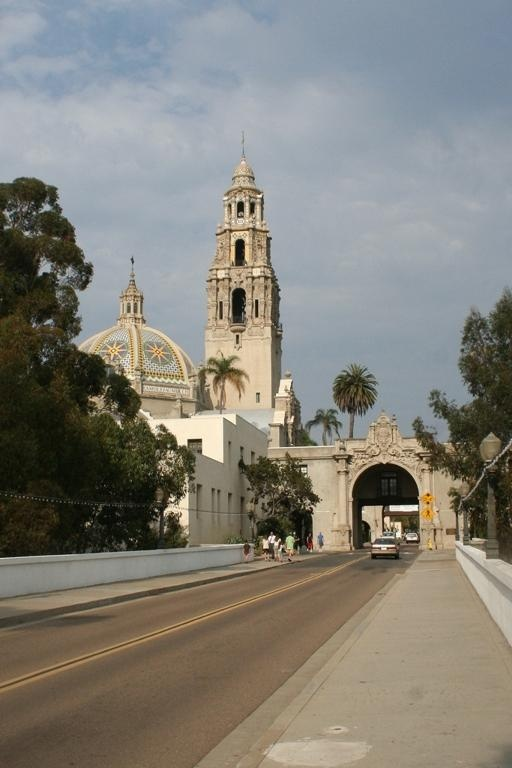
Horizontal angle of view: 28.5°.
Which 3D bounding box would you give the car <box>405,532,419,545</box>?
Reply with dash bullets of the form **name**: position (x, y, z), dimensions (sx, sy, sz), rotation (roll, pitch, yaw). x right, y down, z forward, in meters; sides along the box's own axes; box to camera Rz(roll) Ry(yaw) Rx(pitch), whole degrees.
- **car**: position (15.821, 15.565, 101.558), dimensions (1.157, 0.888, 2.512), rotation (0, -1, 11)
